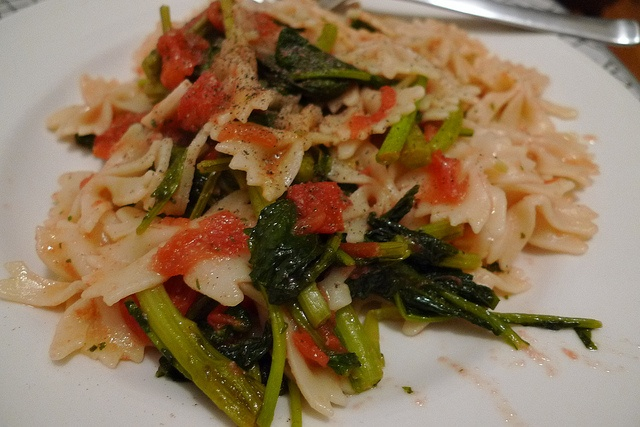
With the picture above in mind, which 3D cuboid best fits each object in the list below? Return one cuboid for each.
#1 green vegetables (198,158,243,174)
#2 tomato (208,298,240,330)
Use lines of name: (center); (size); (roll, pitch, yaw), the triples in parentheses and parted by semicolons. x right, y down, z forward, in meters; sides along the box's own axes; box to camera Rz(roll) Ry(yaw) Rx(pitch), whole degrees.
green vegetables: (-0.897, -0.450, 5.616); (0.427, 0.113, 0.157); (-7, 105, -34)
tomato: (-0.872, 0.884, 5.357); (0.209, 0.073, 0.217); (-39, 67, -19)
